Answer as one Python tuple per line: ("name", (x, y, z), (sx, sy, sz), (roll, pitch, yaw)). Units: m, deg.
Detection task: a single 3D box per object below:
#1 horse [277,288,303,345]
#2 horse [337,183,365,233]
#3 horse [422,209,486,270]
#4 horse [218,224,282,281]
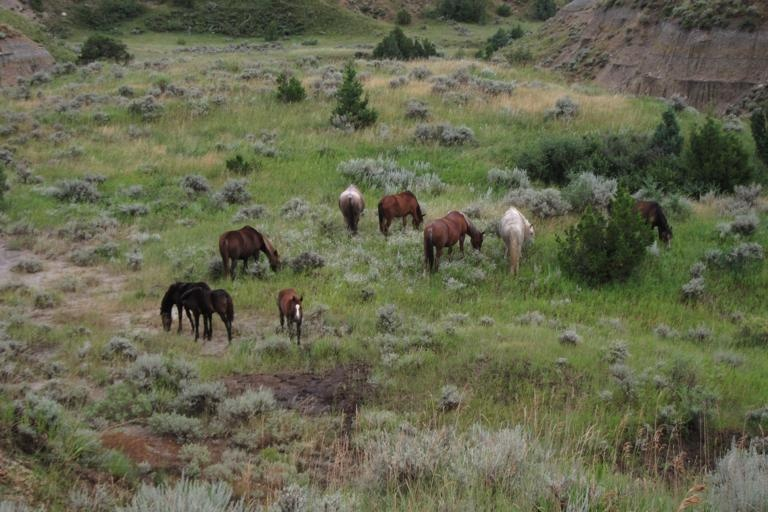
("horse", (-3.847, 2.488, 38.366), (1.362, 1.980, 0.631), (12, 17, 38))
("horse", (-1.481, -2.154, 43.236), (1.050, 2.107, 1.156), (-2, 14, -12))
("horse", (3.355, -0.758, 40.914), (1.223, 3.535, 4.478), (9, 20, 34))
("horse", (-6.030, -0.165, 40.813), (2.378, 2.120, 0.799), (-3, 14, -15))
